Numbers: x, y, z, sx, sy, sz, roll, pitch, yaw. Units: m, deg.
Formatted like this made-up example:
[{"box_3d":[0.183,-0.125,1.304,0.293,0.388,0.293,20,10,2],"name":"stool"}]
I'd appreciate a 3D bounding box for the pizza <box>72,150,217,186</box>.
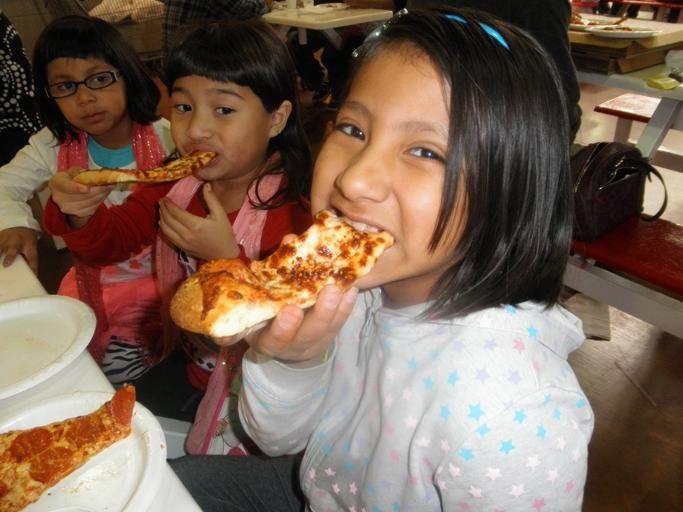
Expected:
[{"box_3d":[-1.171,-0.513,2.809,0.506,0.085,0.345,-9,18,11],"name":"pizza"}]
